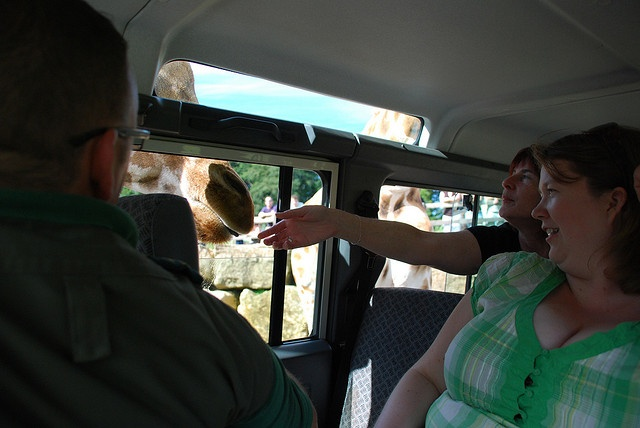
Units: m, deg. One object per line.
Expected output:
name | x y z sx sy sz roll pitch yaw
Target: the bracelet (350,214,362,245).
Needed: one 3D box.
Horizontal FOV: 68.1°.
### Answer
bracelet | 0.197 0.093 2.575 0.031 0.131 0.095 3 5 -3
